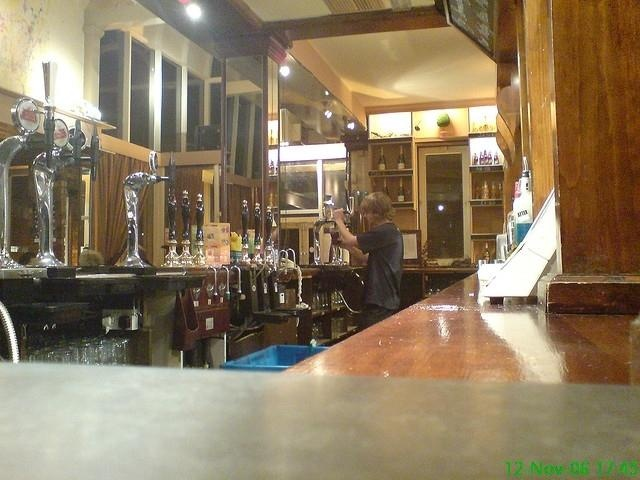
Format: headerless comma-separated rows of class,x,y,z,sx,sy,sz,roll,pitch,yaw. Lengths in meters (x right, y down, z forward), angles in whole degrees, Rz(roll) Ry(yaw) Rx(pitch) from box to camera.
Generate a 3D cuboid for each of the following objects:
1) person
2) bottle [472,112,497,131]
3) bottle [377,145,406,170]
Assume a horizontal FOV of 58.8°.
person,0.335,0.159,3.907,0.518,0.679,1.405,4,-1,2
bottle,2.134,-1.553,7.407,0.312,0.275,0.184,4,-2,9
bottle,0.966,-1.095,7.519,0.306,0.321,0.119,1,-6,-3
